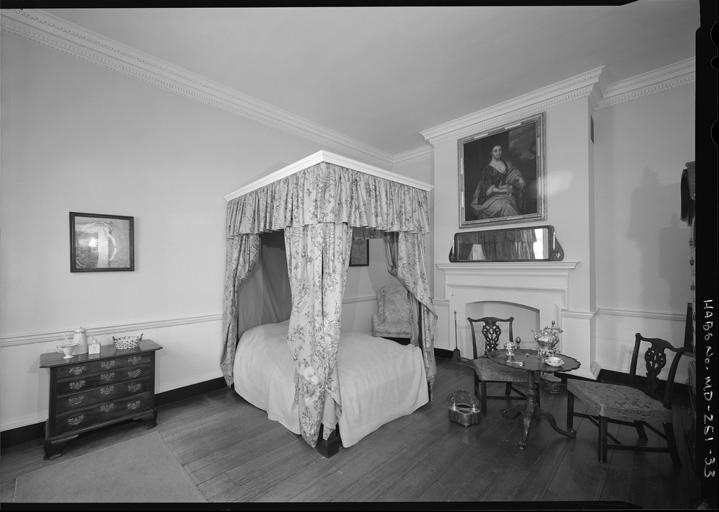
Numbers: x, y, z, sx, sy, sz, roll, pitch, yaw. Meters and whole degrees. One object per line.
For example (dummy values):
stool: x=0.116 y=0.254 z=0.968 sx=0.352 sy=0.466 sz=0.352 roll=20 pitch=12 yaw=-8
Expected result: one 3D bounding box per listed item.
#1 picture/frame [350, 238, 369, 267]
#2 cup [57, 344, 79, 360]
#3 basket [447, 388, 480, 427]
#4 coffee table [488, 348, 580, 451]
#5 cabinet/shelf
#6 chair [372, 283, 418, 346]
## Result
picture/frame: x=-0.025 y=-0.059 z=8.410 sx=0.038 sy=0.507 sz=0.495 roll=5 pitch=3 yaw=44
cup: x=-3.502 y=1.132 z=5.343 sx=0.174 sy=0.125 sz=0.180 roll=-1 pitch=-8 yaw=0
basket: x=1.331 y=1.938 z=5.775 sx=0.351 sy=0.478 sz=0.424 roll=4 pitch=-10 yaw=-24
coffee table: x=2.192 y=1.596 z=5.593 sx=0.873 sy=0.910 sz=1.285 roll=1 pitch=0 yaw=45
cabinet/shelf: x=-3.160 y=1.526 z=5.838 sx=1.726 sy=1.721 sz=0.978 roll=1 pitch=-4 yaw=-36
chair: x=0.615 y=1.010 z=8.383 sx=0.920 sy=1.327 sz=0.888 roll=0 pitch=-11 yaw=6
